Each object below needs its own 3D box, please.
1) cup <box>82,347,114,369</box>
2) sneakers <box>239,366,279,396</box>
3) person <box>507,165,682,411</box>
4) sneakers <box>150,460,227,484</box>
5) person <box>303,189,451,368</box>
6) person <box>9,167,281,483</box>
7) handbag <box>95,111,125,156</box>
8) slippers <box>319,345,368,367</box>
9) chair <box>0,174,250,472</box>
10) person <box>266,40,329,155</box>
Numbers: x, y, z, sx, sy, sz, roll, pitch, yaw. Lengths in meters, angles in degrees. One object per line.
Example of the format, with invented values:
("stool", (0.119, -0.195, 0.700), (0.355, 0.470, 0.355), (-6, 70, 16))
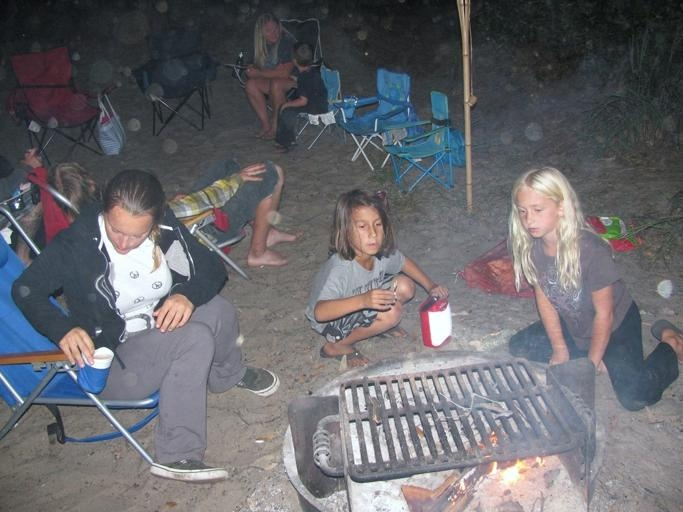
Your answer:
("cup", (-1.553, 0.640, 3.911), (0.161, 0.065, 0.120), (2, 39, -15))
("sneakers", (-0.653, 0.987, 4.863), (0.291, 0.074, 0.190), (12, 51, 7))
("person", (1.941, 0.301, 4.708), (1.027, 1.613, 1.361), (-32, 28, -13))
("sneakers", (-1.036, 1.497, 4.290), (0.522, 0.192, 0.188), (1, 68, -2))
("person", (0.222, 0.181, 4.772), (1.115, 1.391, 0.923), (-20, 32, -29))
("person", (-1.341, 0.369, 4.246), (1.442, 1.794, 1.172), (7, 22, 10))
("handbag", (-3.326, -1.719, 8.769), (0.328, 0.659, 0.507), (-5, 35, -6))
("slippers", (0.011, 0.823, 5.043), (0.385, 0.103, 0.147), (11, 54, 16))
("chair", (-1.592, 0.551, 4.356), (1.586, 1.916, 1.346), (11, 27, 9))
("person", (-0.741, -2.348, 8.670), (0.860, 0.713, 1.414), (-6, 64, 13))
